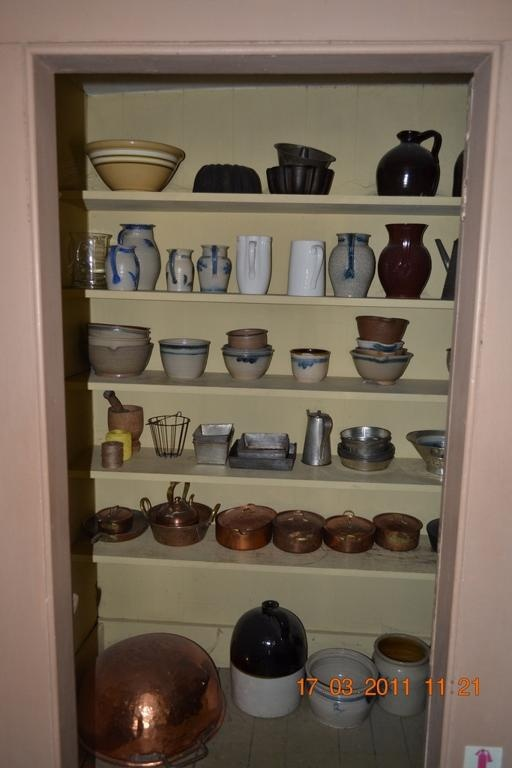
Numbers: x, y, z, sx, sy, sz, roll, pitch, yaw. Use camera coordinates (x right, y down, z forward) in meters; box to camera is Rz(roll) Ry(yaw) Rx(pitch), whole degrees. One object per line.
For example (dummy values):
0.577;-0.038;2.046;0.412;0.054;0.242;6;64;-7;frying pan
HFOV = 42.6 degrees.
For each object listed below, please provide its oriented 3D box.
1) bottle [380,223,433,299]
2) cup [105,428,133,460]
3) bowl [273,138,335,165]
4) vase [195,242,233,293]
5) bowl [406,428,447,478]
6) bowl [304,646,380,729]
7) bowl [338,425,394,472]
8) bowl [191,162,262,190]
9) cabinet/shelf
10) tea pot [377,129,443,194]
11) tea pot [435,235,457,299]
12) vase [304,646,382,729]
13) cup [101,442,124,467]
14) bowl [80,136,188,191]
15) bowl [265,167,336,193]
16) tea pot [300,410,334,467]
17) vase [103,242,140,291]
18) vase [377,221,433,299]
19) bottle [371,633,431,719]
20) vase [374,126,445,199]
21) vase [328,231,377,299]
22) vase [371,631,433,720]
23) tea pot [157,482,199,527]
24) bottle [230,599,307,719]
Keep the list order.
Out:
0.426;-0.347;1.873;0.159;0.207;0.162;0;11;0;bottle
-0.407;0.184;2.011;0.084;0.093;0.085;-1;0;0;cup
0.134;-0.625;1.785;0.159;0.061;0.075;-1;11;2;bowl
-0.118;-0.333;1.901;0.106;0.129;0.104;-5;12;-30;vase
0.509;0.192;1.943;0.169;0.075;0.168;-1;9;0;bowl
0.279;0.990;2.108;0.228;0.162;0.235;-2;5;0;bowl
0.339;0.201;2.039;0.175;0.105;0.192;-1;11;0;bowl
-0.095;-0.593;1.884;0.167;0.099;0.192;3;12;21;bowl
0.055;-0.033;1.955;1.263;1.140;0.376;0;7;0;cabinet/shelf
0.415;-0.584;1.775;0.191;0.221;0.184;0;18;0;tea pot
0.543;-0.330;1.878;0.060;0.173;0.313;2;11;15;tea pot
0.274;0.983;2.107;0.217;0.156;0.226;-1;10;4;vase
-0.437;0.214;1.996;0.068;0.074;0.067;2;6;0;cup
-0.326;-0.594;1.798;0.263;0.131;0.123;-4;11;-12;bowl
0.122;-0.560;1.802;0.179;0.075;0.076;-1;11;1;bowl
0.194;0.169;2.038;0.098;0.175;0.143;0;10;-20;tea pot
-0.375;-0.322;1.836;0.097;0.126;0.129;4;14;5;vase
0.427;-0.347;1.874;0.178;0.205;0.177;-2;10;-17;vase
0.482;0.952;2.137;0.177;0.190;0.184;4;9;30;bottle
0.413;-0.585;1.776;0.202;0.226;0.190;-1;16;-6;vase
0.275;-0.333;1.836;0.119;0.175;0.088;-6;12;-21;vase
0.488;0.951;2.132;0.175;0.179;0.173;2;7;24;vase
-0.235;0.378;2.100;0.126;0.132;0.132;2;-1;0;tea pot
0.047;0.867;2.135;0.278;0.306;0.275;-1;8;-7;bottle
